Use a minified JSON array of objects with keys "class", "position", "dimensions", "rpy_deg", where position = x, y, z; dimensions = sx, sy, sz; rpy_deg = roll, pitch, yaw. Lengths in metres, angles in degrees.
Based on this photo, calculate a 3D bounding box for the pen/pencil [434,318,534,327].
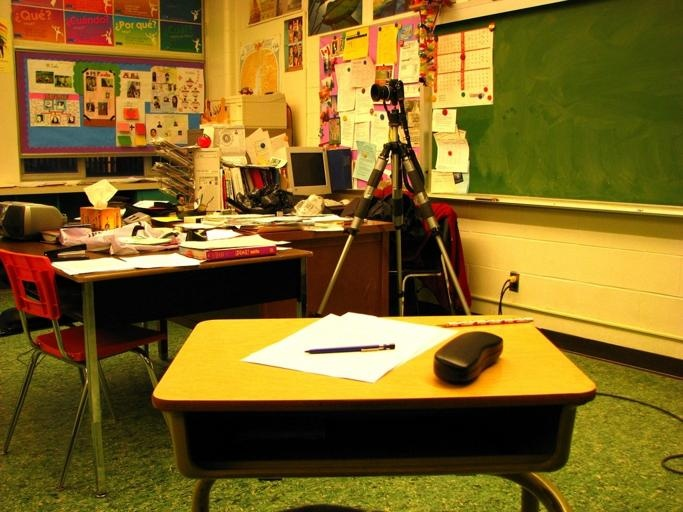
[{"class":"pen/pencil","position":[0.367,0.168,1.350],"dimensions":[0.166,0.012,0.017],"rpy_deg":[-2,-1,-7]}]

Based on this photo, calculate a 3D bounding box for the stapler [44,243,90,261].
[{"class":"stapler","position":[-1.174,-0.015,2.282],"dimensions":[0.136,0.048,0.097],"rpy_deg":[0,7,-9]}]

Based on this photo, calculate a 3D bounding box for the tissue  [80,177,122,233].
[{"class":"tissue ","position":[-1.251,-0.263,2.810],"dimensions":[0.246,0.284,0.142],"rpy_deg":[-8,18,-39]}]

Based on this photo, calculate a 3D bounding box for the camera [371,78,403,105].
[{"class":"camera","position":[0.273,-0.955,3.090],"dimensions":[0.174,0.092,0.155],"rpy_deg":[-3,5,-35]}]
